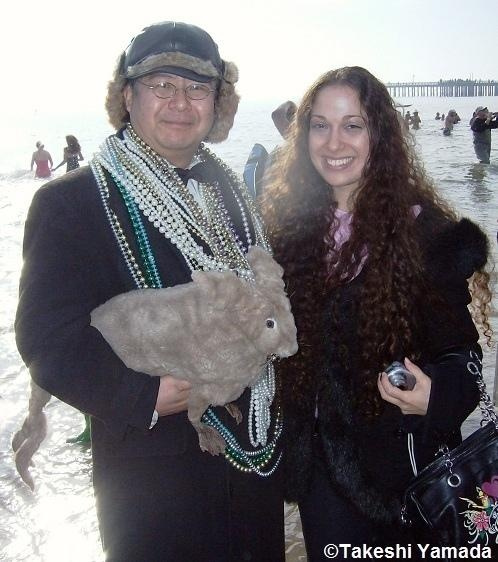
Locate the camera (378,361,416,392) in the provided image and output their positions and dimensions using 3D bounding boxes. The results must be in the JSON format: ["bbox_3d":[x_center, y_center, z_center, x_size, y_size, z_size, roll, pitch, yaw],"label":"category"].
[{"bbox_3d":[0.538,0.348,2.257,0.083,0.104,0.054,-44,3,7],"label":"camera"}]

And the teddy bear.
[{"bbox_3d":[-0.118,0.200,2.092,0.696,0.497,0.280,-15,18,-25],"label":"teddy bear"}]
